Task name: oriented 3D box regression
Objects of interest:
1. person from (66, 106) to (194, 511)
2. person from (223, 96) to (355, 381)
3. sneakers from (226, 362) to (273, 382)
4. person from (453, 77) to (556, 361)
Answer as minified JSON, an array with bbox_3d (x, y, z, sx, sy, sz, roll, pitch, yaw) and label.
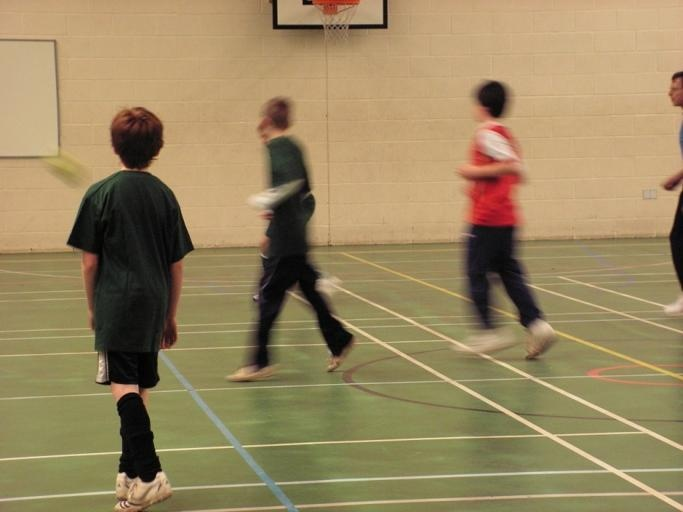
[{"bbox_3d":[-1.152,0.288,5.694,0.650,2.133,0.759,0,17,-8],"label":"person"},{"bbox_3d":[-0.380,0.015,7.569,0.928,1.763,0.467,-1,17,-10],"label":"person"},{"bbox_3d":[-0.662,0.858,7.625,0.354,0.093,0.119,-1,-5,-13],"label":"sneakers"},{"bbox_3d":[1.203,-0.236,7.934,0.616,2.129,0.855,-5,18,-23],"label":"person"}]
